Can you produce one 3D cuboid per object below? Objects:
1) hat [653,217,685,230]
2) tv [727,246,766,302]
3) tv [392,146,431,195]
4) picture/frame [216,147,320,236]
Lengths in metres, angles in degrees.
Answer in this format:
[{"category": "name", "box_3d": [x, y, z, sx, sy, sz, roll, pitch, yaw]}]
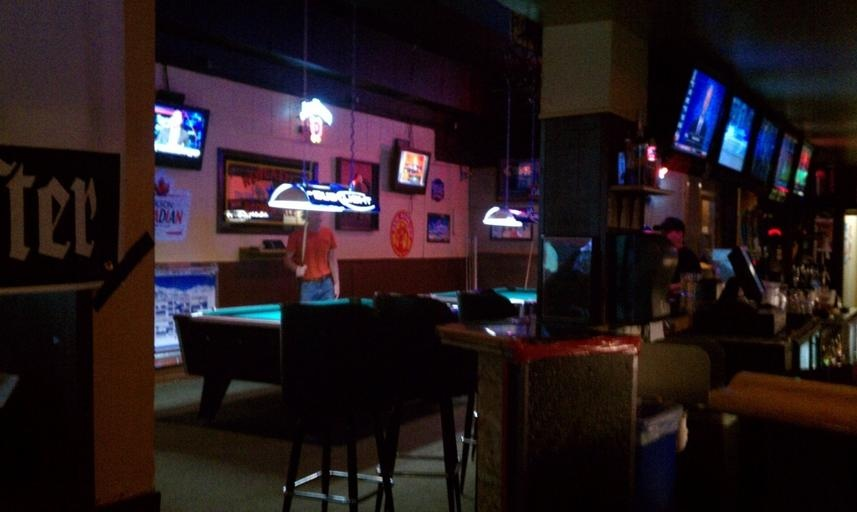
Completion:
[{"category": "hat", "box_3d": [2.459, -0.313, 7.239, 0.238, 0.122, 0.169, 10, -5, 7]}, {"category": "tv", "box_3d": [2.818, 0.173, 6.327, 0.309, 0.467, 0.501, 4, 12, 26]}, {"category": "tv", "box_3d": [-0.324, -1.433, 11.937, 0.400, 0.790, 0.807, 7, 6, 38]}, {"category": "picture/frame", "box_3d": [-2.186, -0.807, 9.347, 0.060, 0.916, 1.274, -1, -2, 45]}]
